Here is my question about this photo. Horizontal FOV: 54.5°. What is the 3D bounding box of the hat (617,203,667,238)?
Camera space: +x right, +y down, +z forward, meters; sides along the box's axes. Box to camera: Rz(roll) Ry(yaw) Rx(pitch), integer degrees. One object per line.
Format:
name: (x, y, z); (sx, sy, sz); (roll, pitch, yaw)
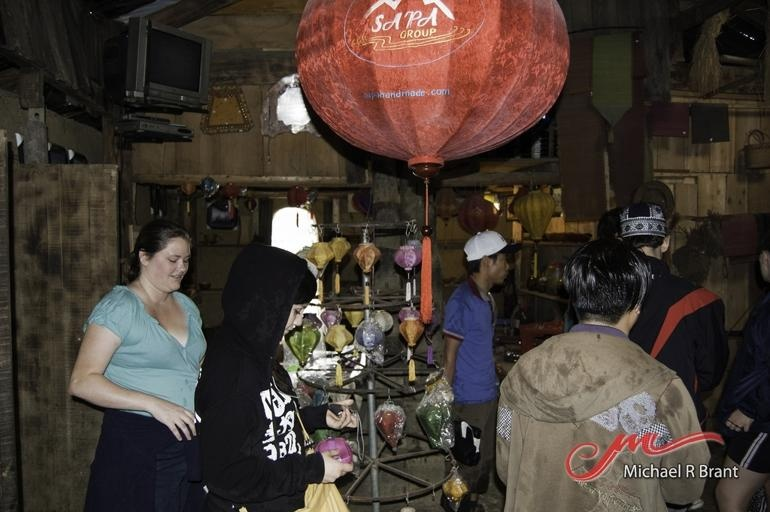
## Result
hat: (2.106, -0.284, 6.074); (0.272, 0.232, 0.292); (1, 3, 11)

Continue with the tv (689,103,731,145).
tv: (3.755, -1.536, 8.674); (0.403, 0.483, 0.107); (0, 6, 3)

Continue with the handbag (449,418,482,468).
handbag: (0.719, 1.677, 6.706); (0.257, 0.409, 0.311); (0, 0, 4)

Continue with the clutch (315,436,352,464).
clutch: (-0.401, 1.472, 5.663); (0.178, 0.244, 0.257); (6, 4, 27)

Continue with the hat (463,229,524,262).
hat: (0.971, -0.103, 7.053); (0.389, 0.231, 0.290); (-4, 7, 2)

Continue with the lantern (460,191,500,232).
lantern: (1.182, -0.513, 9.405); (0.434, 0.559, 0.488); (0, -6, 6)

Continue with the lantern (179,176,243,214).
lantern: (-1.979, -0.769, 8.715); (0.500, 0.308, 0.561); (2, -1, 32)
